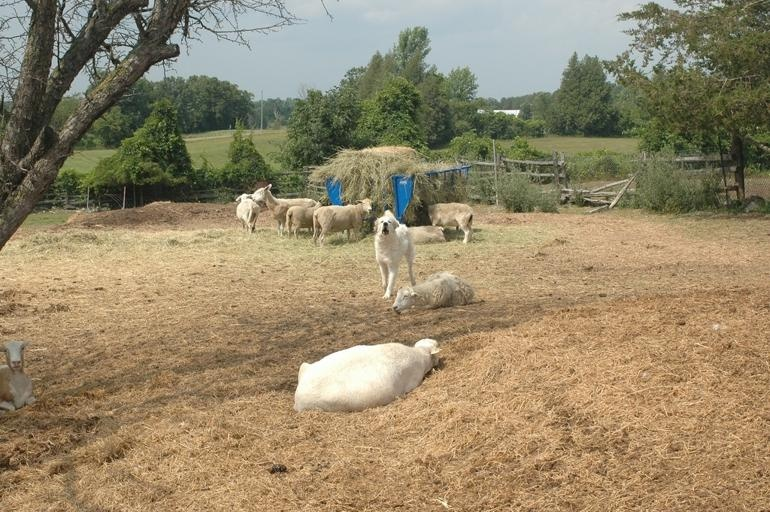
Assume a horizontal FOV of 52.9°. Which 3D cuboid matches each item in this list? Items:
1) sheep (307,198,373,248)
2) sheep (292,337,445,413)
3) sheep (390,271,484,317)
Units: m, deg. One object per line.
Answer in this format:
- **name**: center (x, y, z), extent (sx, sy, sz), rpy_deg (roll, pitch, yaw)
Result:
- **sheep**: center (-1.462, -0.999, 21.928), extent (2.164, 1.337, 0.845), rpy_deg (-10, 17, -30)
- **sheep**: center (-0.246, 1.750, 11.624), extent (2.003, 0.854, 1.020), rpy_deg (-15, -23, -11)
- **sheep**: center (0.847, 0.657, 14.286), extent (1.162, 0.551, 0.722), rpy_deg (-5, 2, -25)
